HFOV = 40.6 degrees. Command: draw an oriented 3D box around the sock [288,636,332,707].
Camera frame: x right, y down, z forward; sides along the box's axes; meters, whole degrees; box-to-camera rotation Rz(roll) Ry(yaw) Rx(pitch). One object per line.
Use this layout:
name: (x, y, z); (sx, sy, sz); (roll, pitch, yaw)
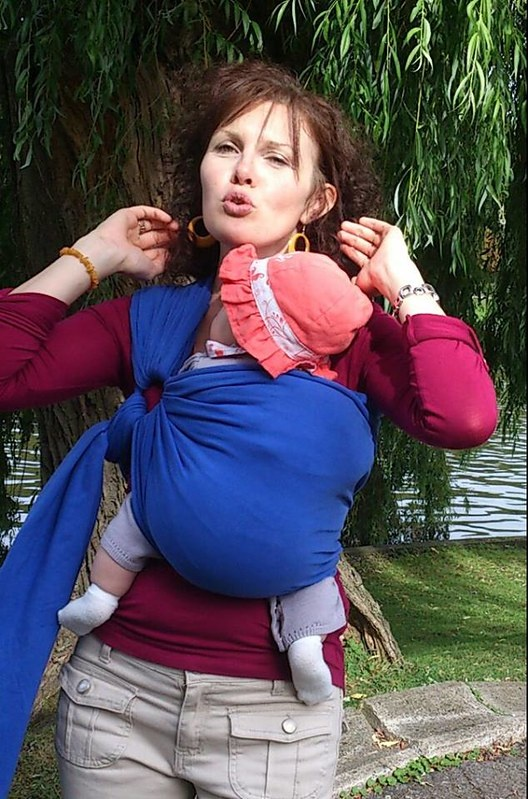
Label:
sock: (0.071, 0.399, 1.070); (0.062, 0.102, 0.040); (-5, 25, 15)

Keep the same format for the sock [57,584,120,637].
sock: (-0.283, 0.345, 1.194); (0.102, 0.076, 0.043); (-32, 9, 22)

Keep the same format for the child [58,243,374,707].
child: (0.016, 0.154, 1.221); (0.482, 0.691, 0.250); (18, -2, 22)

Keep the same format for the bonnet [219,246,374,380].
bonnet: (0.021, -0.129, 1.096); (0.195, 0.209, 0.103); (-18, -10, -46)

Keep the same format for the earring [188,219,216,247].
earring: (-0.127, -0.335, 1.453); (0.013, 0.051, 0.053); (-16, 3, 31)
